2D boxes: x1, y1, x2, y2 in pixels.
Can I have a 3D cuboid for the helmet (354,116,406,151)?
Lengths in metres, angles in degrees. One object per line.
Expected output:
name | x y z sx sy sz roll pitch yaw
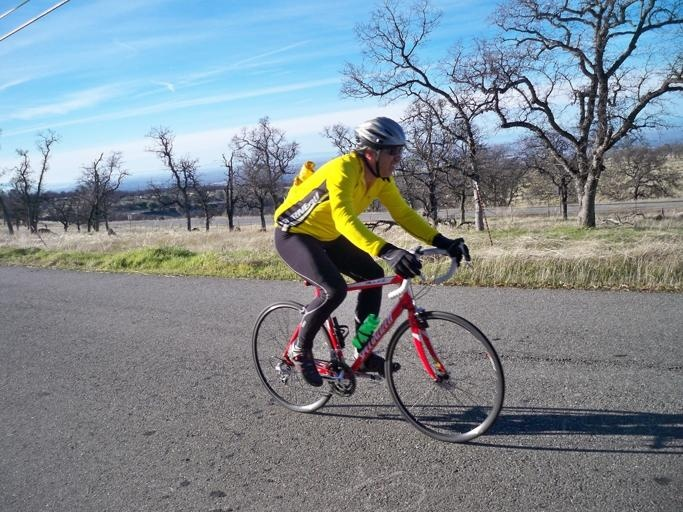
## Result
helmet | 0.335 -1.145 5.100 0.463 0.249 0.346 11 18 28

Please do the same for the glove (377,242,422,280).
glove | 0.501 0.041 4.761 0.126 0.242 0.383 -13 32 -37

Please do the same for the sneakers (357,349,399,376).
sneakers | 0.301 1.039 5.301 0.474 0.236 0.165 -6 -4 27

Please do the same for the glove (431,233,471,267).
glove | 1.013 -0.072 5.101 0.222 0.169 0.366 39 -2 -37
